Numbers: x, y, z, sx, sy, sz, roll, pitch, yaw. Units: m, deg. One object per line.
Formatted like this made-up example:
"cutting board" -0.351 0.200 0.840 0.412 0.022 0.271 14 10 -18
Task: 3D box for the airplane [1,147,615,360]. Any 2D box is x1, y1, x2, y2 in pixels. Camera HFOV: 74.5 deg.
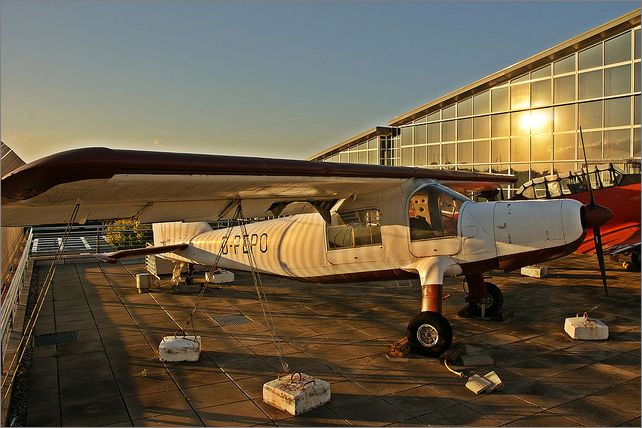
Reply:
"airplane" 0.558 0.140 10.172 10.025 1.854 9.390 1 3 27
